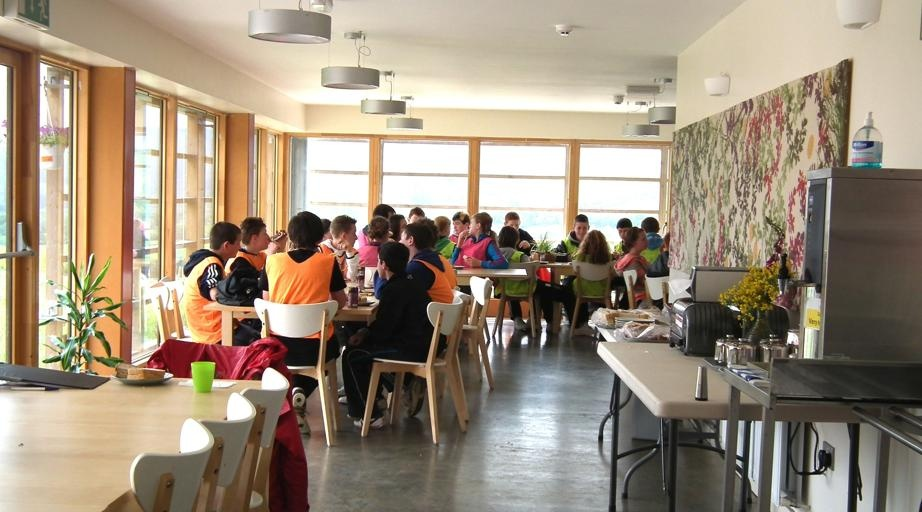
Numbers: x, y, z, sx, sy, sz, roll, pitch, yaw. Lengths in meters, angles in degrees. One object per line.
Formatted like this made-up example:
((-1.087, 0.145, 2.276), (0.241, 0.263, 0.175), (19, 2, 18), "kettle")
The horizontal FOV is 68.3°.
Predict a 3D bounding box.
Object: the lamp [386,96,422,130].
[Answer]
((-0.906, -2.220, 10.894), (0.663, 0.536, 0.645), (3, 4, 14), "lamp")

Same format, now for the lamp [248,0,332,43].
((-1.445, -2.002, 5.754), (0.632, 0.331, 0.376), (0, 10, -18), "lamp")

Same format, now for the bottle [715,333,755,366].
((1.753, 0.614, 4.356), (0.172, 0.196, 0.286), (-1, -2, -2), "bottle")

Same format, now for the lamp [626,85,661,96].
((2.545, -2.287, 9.415), (0.456, 0.102, 0.550), (5, 10, 13), "lamp")

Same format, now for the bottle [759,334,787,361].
((1.997, 0.597, 4.348), (0.131, 0.130, 0.192), (12, 13, 41), "bottle")

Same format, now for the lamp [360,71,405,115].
((-1.079, -2.180, 9.415), (0.648, 0.652, 0.618), (3, 1, 4), "lamp")

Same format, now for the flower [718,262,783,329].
((1.904, 0.266, 4.439), (0.228, 0.417, 0.494), (1, 10, -8), "flower")

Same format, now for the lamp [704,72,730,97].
((2.335, -1.544, 6.186), (0.242, 0.185, 0.250), (-1, 0, -17), "lamp")

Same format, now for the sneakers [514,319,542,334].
((0.963, 1.013, 9.587), (0.356, 0.135, 0.184), (-4, -4, 40), "sneakers")

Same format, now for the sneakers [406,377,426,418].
((-0.395, 1.271, 6.134), (0.143, 0.398, 0.174), (2, 2, 17), "sneakers")

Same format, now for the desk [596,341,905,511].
((1.522, 0.757, 4.405), (0.987, 1.085, 1.763), (0, 3, -4), "desk")

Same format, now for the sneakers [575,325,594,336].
((1.718, 1.049, 9.414), (0.263, 0.150, 0.132), (-1, 0, 2), "sneakers")
